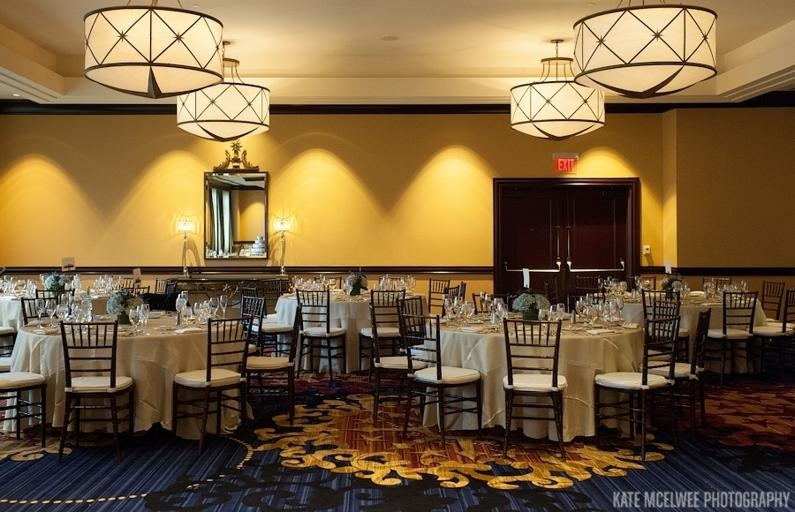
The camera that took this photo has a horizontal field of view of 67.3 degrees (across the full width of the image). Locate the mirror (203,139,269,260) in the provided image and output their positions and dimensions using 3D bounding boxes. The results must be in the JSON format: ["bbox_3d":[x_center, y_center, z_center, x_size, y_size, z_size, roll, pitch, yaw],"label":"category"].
[{"bbox_3d":[-3.324,-1.138,12.308,1.334,2.369,0.400,-1,-4,-9],"label":"mirror"}]

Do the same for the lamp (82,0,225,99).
[{"bbox_3d":[-2.944,-2.337,7.514,1.252,1.442,1.260,1,-7,-11],"label":"lamp"}]

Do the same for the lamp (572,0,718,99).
[{"bbox_3d":[2.961,-2.464,7.434,1.242,0.736,1.271,0,-2,1],"label":"lamp"}]

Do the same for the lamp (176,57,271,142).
[{"bbox_3d":[-2.735,-2.313,9.340,1.133,1.001,1.161,2,2,40],"label":"lamp"}]
